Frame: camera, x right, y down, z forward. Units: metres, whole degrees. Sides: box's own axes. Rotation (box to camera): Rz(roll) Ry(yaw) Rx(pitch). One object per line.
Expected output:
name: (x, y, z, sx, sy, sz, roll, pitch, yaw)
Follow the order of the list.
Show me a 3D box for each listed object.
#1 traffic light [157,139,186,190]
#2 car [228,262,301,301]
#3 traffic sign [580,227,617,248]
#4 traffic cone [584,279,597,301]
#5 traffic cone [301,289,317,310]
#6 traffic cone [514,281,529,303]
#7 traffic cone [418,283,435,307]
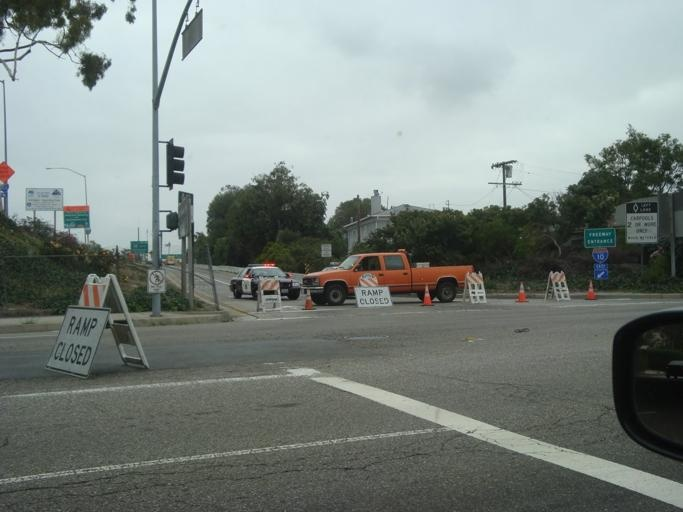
traffic light: (-4.400, -2.421, 18.744, 0.465, 1.314, 1.186, -1, 4, -15)
car: (-3.527, 1.077, 31.216, 1.438, 1.242, 3.087, 2, -6, -28)
traffic sign: (12.597, -0.896, 34.836, 1.300, 0.980, 0.053, -3, -5, 41)
traffic cone: (11.009, 1.507, 31.549, 0.548, 0.876, 0.599, -2, -3, -10)
traffic cone: (-1.187, 1.482, 23.962, 0.494, 0.782, 0.562, 0, -7, -7)
traffic cone: (7.872, 1.586, 31.308, 0.540, 0.868, 0.595, -1, -6, -2)
traffic cone: (3.157, 1.401, 25.296, 0.572, 0.908, 0.634, 0, -6, -8)
